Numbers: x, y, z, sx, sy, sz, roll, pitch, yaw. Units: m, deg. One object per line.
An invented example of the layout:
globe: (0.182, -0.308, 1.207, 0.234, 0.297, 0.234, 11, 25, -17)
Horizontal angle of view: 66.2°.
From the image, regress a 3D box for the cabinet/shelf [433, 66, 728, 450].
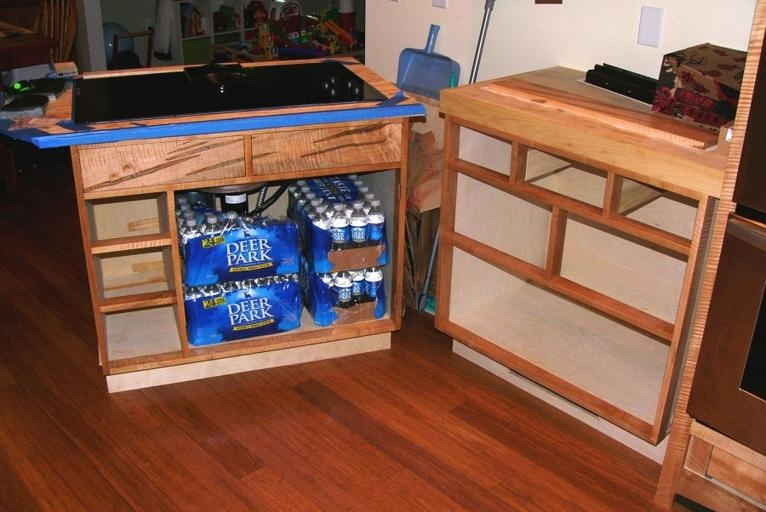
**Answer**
cabinet/shelf: (0.852, 0.014, 2.484, 1.294, 1.297, 0.860, 30, 48, 34)

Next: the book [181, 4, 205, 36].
book: (-2.301, -2.854, 7.099, 0.221, 0.364, 0.347, 14, 31, 24)
